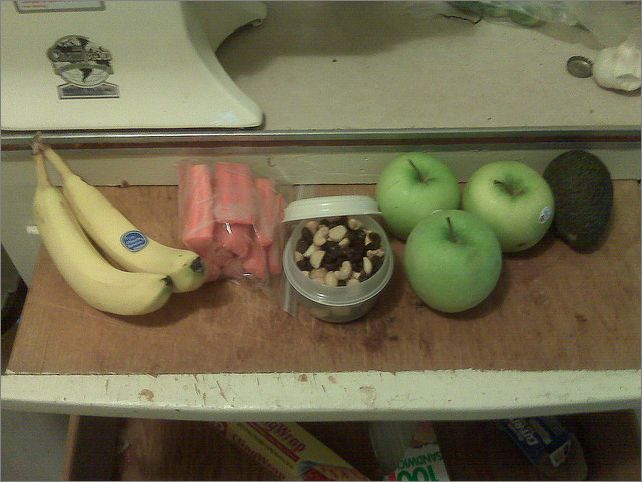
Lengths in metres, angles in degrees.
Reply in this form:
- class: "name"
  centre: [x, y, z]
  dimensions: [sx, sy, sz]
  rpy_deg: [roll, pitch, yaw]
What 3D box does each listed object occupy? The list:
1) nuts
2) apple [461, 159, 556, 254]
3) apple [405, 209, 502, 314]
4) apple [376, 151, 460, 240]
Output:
- class: "nuts"
  centre: [0.029, 0.049, 1.030]
  dimensions: [0.197, 0.126, 0.181]
  rpy_deg: [-4, 58, -4]
- class: "apple"
  centre: [0.345, -0.074, 1.024]
  dimensions: [0.192, 0.153, 0.187]
  rpy_deg: [6, 33, 2]
- class: "apple"
  centre: [0.233, 0.035, 1.006]
  dimensions: [0.158, 0.135, 0.155]
  rpy_deg: [-8, 59, -6]
- class: "apple"
  centre: [0.178, -0.099, 1.123]
  dimensions: [0.173, 0.156, 0.149]
  rpy_deg: [9, 67, 11]
